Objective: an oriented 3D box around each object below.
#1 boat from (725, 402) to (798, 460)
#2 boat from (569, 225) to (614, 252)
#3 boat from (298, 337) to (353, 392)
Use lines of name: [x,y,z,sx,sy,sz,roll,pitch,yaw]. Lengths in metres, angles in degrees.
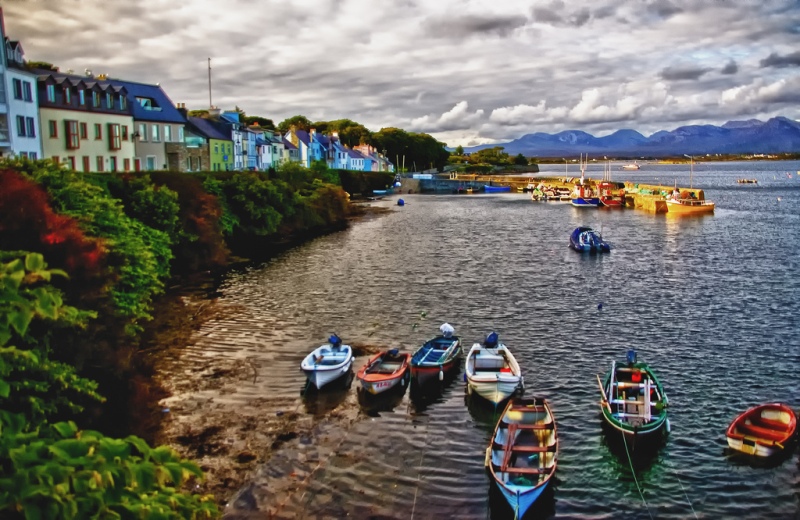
boat: [17.293,8.144,29.596,3.405,1.876,1.659,-9,12,-19]
boat: [22.420,-1.988,74.618,3.794,1.839,4.189,7,11,2]
boat: [-4.106,5.833,35.345,2.482,2.099,3.447,-5,11,2]
